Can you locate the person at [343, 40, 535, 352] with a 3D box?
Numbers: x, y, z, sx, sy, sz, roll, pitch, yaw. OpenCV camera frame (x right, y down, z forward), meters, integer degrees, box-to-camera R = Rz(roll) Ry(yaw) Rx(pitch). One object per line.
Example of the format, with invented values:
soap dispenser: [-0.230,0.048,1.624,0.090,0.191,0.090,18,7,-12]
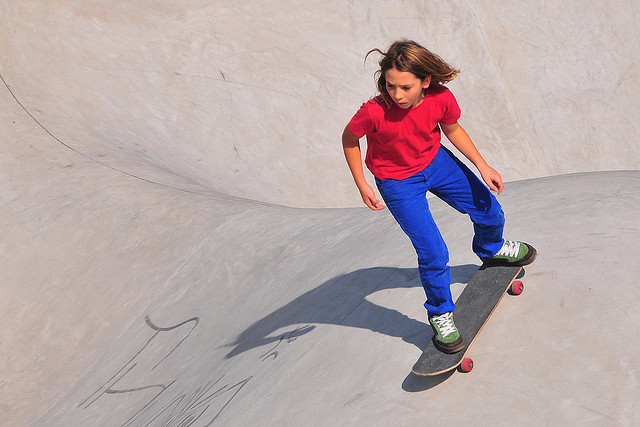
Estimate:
person: [1.293,-0.264,7.700,1.537,3.345,0.703,-23,15,-15]
